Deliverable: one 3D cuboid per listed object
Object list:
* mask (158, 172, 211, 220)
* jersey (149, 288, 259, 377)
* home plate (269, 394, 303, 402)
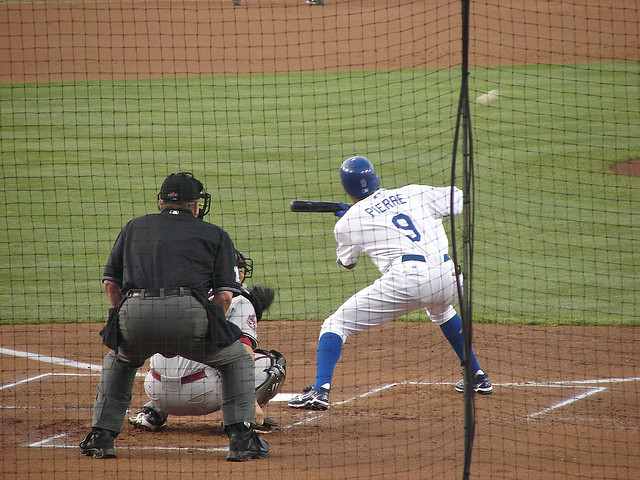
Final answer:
[{"bbox_3d":[-1.866,-0.562,19.288,0.613,0.510,0.658,4,6,27],"label":"mask"},{"bbox_3d":[-1.457,1.305,19.267,1.626,1.154,0.496,0,-37,11],"label":"jersey"},{"bbox_3d":[-0.532,2.212,20.024,0.404,0.105,0.208,-3,-4,-1],"label":"home plate"}]
